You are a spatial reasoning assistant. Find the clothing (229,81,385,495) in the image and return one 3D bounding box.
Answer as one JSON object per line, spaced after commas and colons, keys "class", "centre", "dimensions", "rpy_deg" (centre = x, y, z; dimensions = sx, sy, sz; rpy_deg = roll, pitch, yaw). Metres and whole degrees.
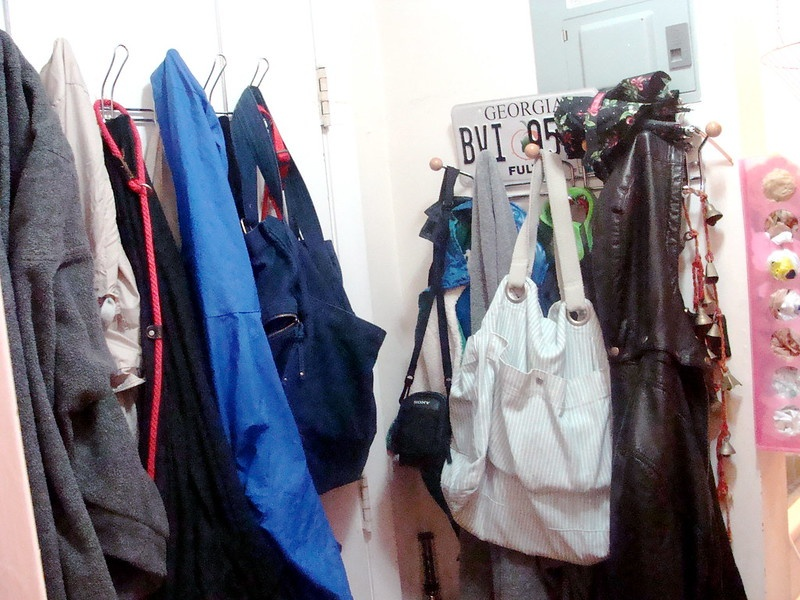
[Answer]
{"class": "clothing", "centre": [-0.221, -0.015, 1.793], "dimensions": [0.334, 0.949, 0.371], "rpy_deg": [-2, 4, 9]}
